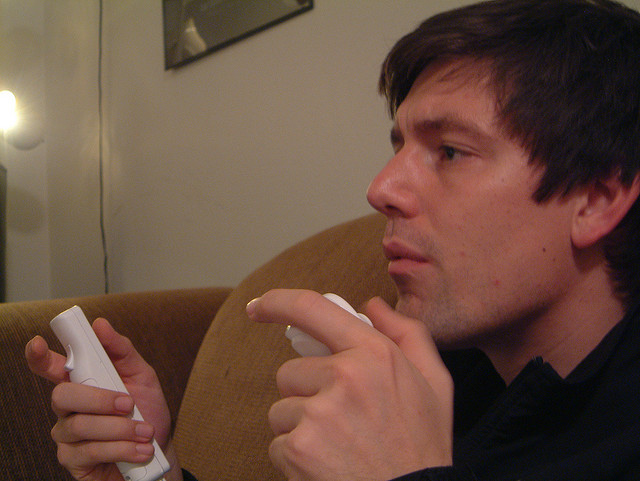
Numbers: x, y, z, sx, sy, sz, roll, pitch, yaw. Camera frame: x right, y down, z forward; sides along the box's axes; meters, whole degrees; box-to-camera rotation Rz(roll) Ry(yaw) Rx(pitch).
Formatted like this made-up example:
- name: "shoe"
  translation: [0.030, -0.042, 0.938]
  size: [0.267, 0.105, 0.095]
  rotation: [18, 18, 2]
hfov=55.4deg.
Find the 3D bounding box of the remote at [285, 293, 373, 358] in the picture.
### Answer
- name: "remote"
  translation: [0.027, 0.133, 1.011]
  size: [0.131, 0.053, 0.139]
  rotation: [7, 30, -26]
